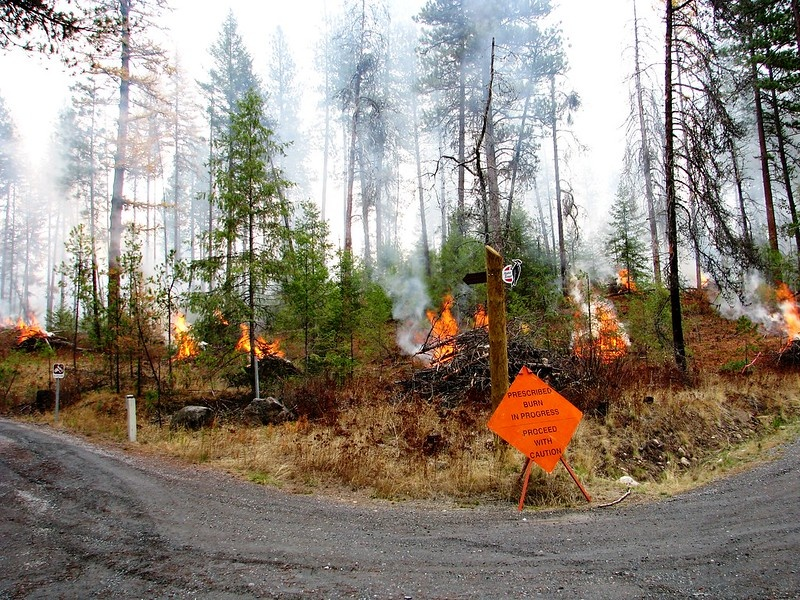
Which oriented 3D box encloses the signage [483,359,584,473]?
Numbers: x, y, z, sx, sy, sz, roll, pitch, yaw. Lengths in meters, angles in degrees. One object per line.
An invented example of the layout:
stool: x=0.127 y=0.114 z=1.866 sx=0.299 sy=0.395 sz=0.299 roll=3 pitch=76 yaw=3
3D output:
signage: x=4.448 y=4.022 z=24.019 sx=2.238 sy=2.579 sz=0.270 roll=-34 pitch=-9 yaw=-2
